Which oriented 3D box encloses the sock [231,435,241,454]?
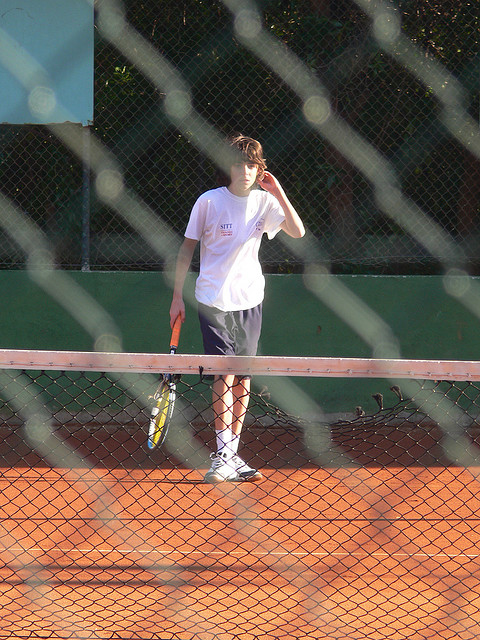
[{"bbox_3d":[-0.022,0.600,3.574,0.080,0.024,0.081,1,80,-11],"label":"sock"}]
